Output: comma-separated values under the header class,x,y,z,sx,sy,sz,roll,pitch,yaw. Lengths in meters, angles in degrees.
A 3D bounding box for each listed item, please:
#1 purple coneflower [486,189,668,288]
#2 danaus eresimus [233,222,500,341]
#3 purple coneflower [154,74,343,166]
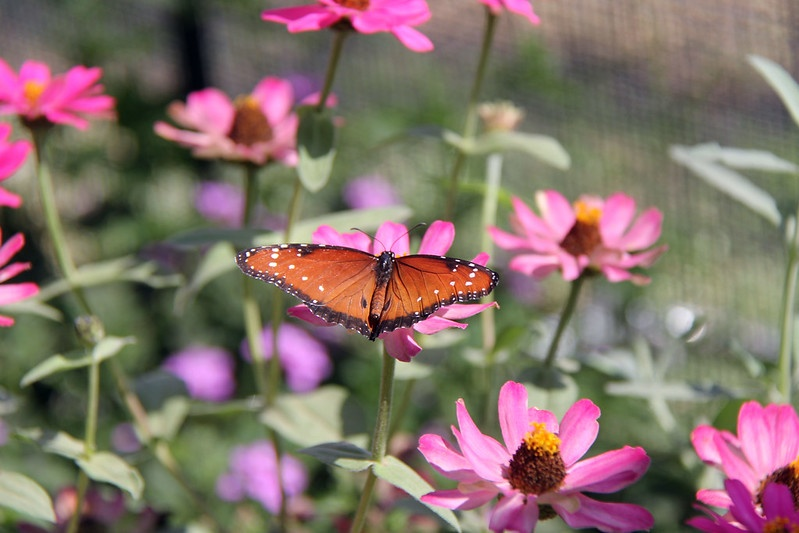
class,x,y,z,sx,sy,sz,roll,pitch,yaw
purple coneflower,0.257,-0.081,1.375,0.196,0.274,0.150,-7,102,-10
danaus eresimus,-0.031,0.021,1.255,0.329,0.097,0.196,4,39,7
purple coneflower,-0.242,-0.203,1.379,0.156,0.074,0.161,26,38,26
